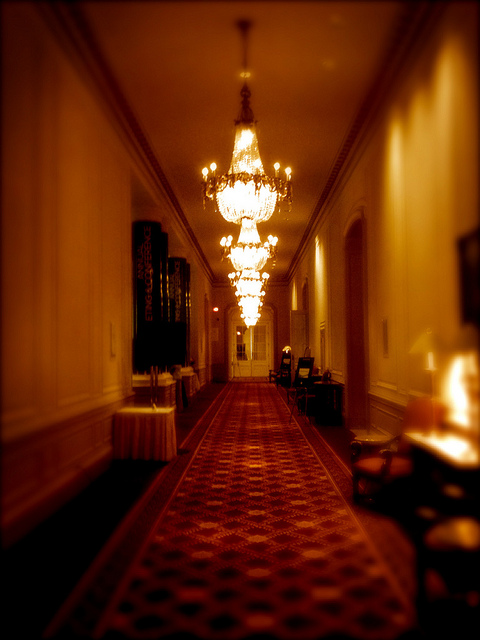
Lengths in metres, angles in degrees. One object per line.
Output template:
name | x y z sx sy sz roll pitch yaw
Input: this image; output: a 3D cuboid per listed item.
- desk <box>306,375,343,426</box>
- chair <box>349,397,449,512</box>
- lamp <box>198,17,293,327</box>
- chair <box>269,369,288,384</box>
desk | 1.539 1.487 8.863 0.411 1.170 0.947 0 1 1
chair | 1.155 1.136 4.048 0.393 1.004 0.516 3 -6 12
lamp | 0.112 -1.611 7.675 1.385 6.788 1.775 -1 3 8
chair | 1.397 2.102 17.145 0.339 0.498 1.852 0 -5 -7
